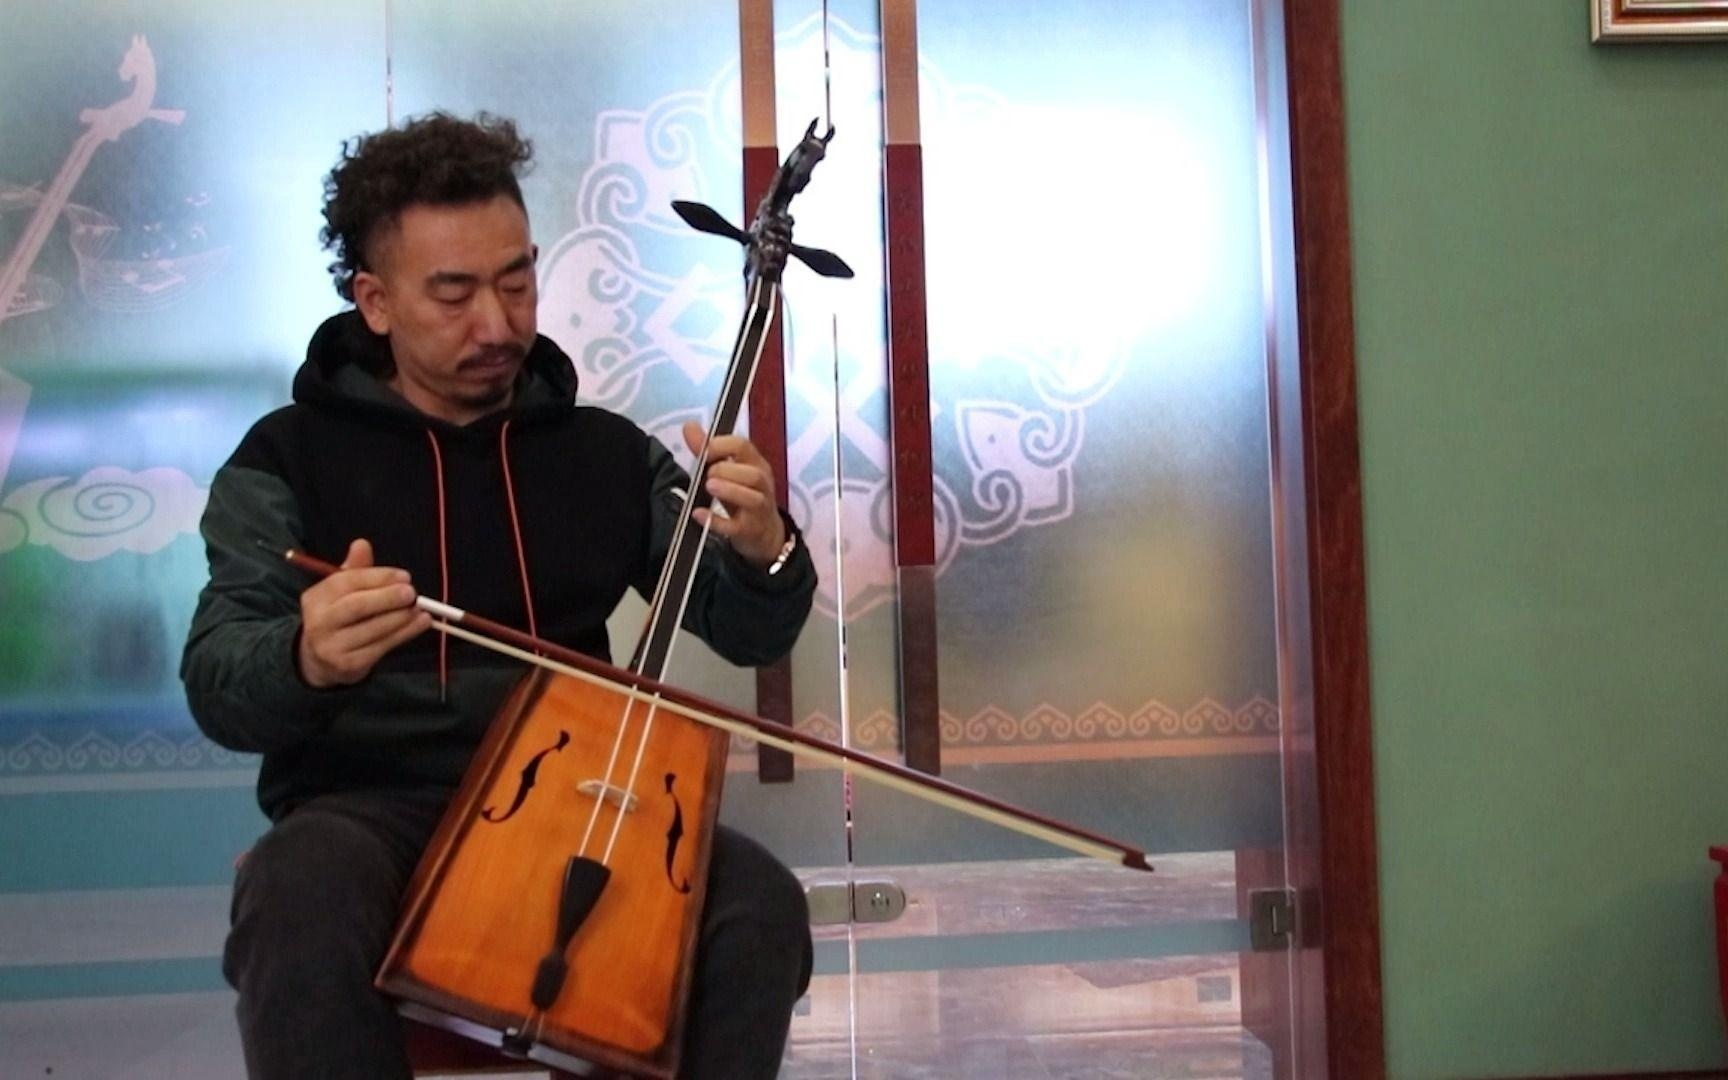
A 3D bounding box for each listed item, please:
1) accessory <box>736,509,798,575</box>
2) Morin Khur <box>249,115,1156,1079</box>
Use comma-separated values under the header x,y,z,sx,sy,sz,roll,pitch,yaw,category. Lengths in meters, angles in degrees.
x,y,z,sx,sy,sz,roll,pitch,yaw,category
-0.166,0.015,2.870,0.127,0.104,0.047,-40,0,-31,accessory
-0.370,0.195,2.641,1.241,1.379,0.225,22,-25,-22,Morin Khur
